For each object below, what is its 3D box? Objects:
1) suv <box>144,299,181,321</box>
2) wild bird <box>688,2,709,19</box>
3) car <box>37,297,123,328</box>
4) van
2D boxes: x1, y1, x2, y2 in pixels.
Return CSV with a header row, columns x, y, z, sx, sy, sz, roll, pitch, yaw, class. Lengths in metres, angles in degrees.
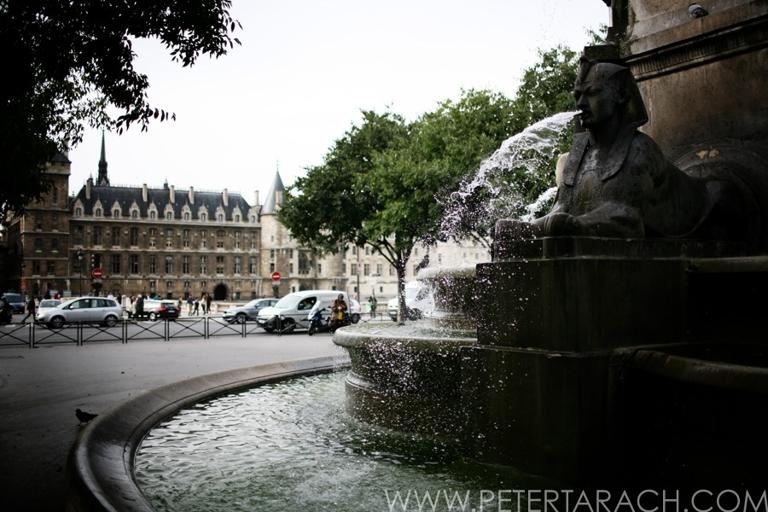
x,y,z,sx,sy,sz,roll,pitch,yaw,class
-12.834,3.077,43.153,2.948,1.076,1.336,8,5,42,suv
3.470,-2.695,8.403,0.119,0.189,0.219,-2,-1,-36,wild bird
-14.284,2.610,35.674,2.934,1.096,3.769,-3,-1,0,car
-3.452,2.086,32.142,4.358,1.704,1.974,7,-10,-39,van
